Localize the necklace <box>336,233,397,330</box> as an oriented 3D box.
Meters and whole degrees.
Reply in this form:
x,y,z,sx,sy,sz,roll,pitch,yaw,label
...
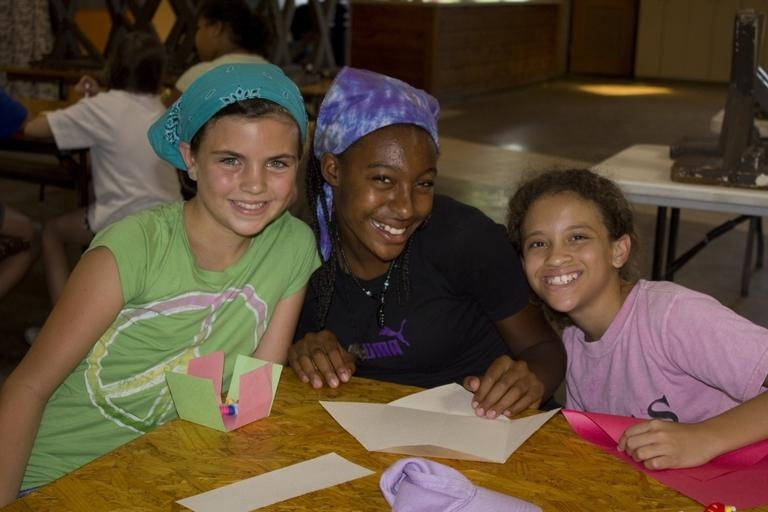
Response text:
x,y,z,sx,sy,sz,roll,pitch,yaw,label
-0.028,0.106,2.181,0.182,0.051,0.330,-10,50,-4,necklace
